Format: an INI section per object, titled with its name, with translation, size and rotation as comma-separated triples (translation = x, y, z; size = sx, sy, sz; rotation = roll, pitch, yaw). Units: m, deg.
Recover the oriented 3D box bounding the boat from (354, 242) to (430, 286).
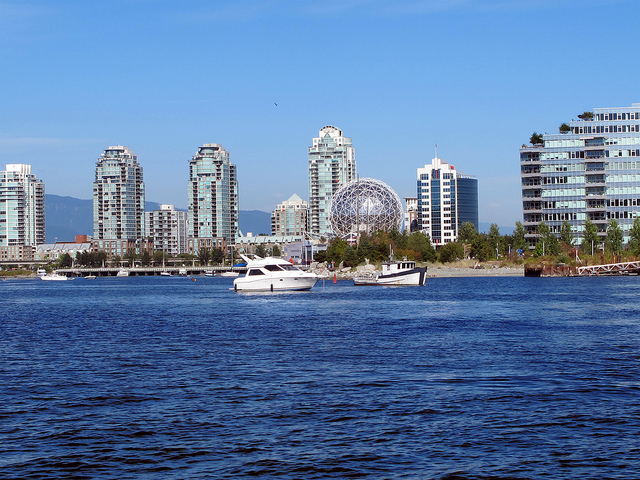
[boat]
translation = 8.503, 3.673, 150.032
size = 11.386, 3.694, 3.257
rotation = -4, -1, 44
